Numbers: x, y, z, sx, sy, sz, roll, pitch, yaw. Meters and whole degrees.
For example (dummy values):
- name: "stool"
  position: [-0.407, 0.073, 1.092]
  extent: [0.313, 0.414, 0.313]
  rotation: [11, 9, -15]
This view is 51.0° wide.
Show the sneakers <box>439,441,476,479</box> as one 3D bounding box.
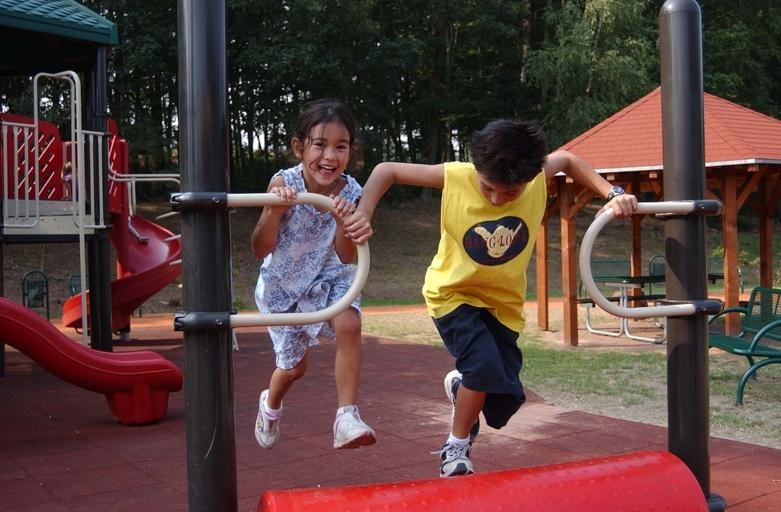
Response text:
- name: "sneakers"
  position: [0.474, 1.429, 5.790]
  extent: [0.213, 0.256, 0.243]
  rotation: [0, 7, -3]

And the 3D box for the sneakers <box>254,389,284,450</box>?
- name: "sneakers"
  position: [-0.948, 1.251, 6.265]
  extent: [0.201, 0.536, 0.213]
  rotation: [6, 3, -16]

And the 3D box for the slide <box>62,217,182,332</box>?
- name: "slide"
  position: [-4.214, 0.199, 12.901]
  extent: [2.123, 2.078, 1.504]
  rotation: [3, 5, -13]

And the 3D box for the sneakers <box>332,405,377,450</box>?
- name: "sneakers"
  position: [-0.253, 1.210, 5.765]
  extent: [0.218, 0.318, 0.236]
  rotation: [-4, 8, -36]
